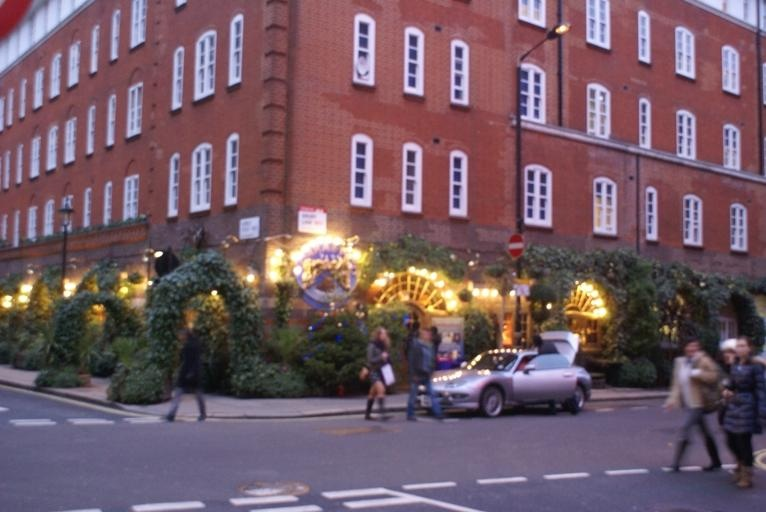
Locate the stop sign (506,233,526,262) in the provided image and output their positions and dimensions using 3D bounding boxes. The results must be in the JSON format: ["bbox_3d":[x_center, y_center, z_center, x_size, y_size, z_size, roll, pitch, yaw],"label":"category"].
[{"bbox_3d":[5.063,-0.391,32.353,0.433,0.922,0.788,1,3,-7],"label":"stop sign"}]

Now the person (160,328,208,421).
[{"bbox_3d":[-5.737,3.444,25.157,1.204,2.644,1.101,0,3,-22],"label":"person"}]

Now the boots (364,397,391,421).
[{"bbox_3d":[-0.183,4.543,25.917,0.659,0.726,0.679,1,-21,0],"label":"boots"}]

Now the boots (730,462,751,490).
[{"bbox_3d":[8.195,4.982,19.608,0.370,0.628,0.453,-2,-5,15],"label":"boots"}]
